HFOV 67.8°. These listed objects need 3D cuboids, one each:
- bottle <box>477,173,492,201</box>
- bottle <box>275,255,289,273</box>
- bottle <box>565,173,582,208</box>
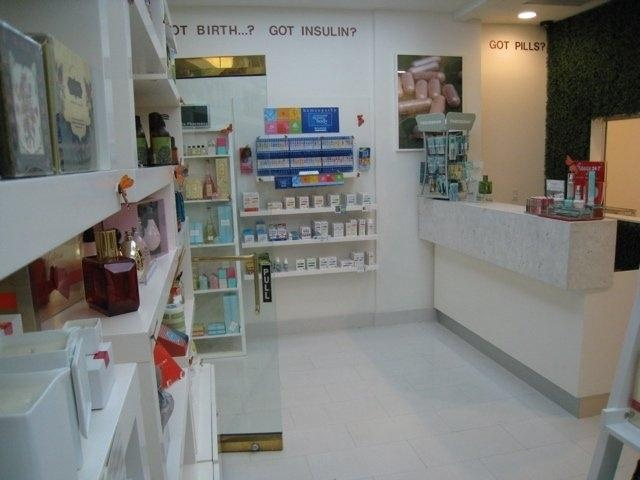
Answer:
[{"bbox_3d":[1.601,-0.500,4.587,0.119,0.246,0.262,2,11,18],"label":"bottle"},{"bbox_3d":[-0.411,0.257,5.084,0.146,0.155,0.048,4,-16,-37],"label":"bottle"},{"bbox_3d":[1.850,-0.367,3.451,0.095,0.230,0.207,1,11,13],"label":"bottle"}]
